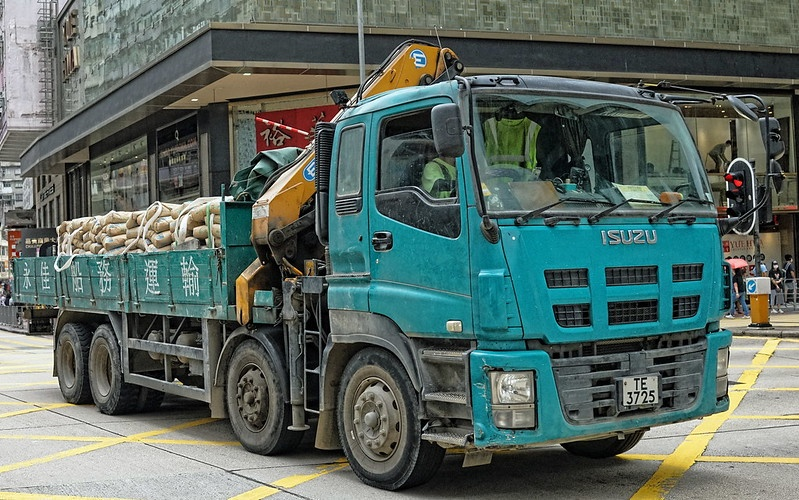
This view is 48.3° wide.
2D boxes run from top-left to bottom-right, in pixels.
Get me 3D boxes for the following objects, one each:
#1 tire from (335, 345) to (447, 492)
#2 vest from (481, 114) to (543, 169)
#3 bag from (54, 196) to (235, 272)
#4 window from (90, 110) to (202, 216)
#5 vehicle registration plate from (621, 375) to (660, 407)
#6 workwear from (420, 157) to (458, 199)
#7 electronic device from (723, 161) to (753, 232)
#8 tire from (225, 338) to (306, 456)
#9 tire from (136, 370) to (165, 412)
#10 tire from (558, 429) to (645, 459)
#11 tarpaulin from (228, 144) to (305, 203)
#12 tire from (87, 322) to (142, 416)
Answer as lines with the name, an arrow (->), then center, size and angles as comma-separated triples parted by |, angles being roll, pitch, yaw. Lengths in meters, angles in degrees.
tire -> -0.060, 2.117, 11.059 | 1.481, 1.606, 0.642 | 22, 11, 40
vest -> 1.310, -1.292, 10.666 | 0.713, 0.635, 0.105 | 1, -5, -17
bag -> -4.043, 0.142, 14.512 | 1.816, 0.786, 2.891 | 0, -7, -36
window -> -11.197, -3.320, 38.616 | 0.159, 3.605, 10.806 | -10, 5, -42
vehicle registration plate -> 2.896, 1.730, 10.642 | 0.080, 0.405, 0.575 | 16, -22, -37
workwear -> 0.458, -0.845, 10.855 | 0.475, 0.444, 0.467 | 2, -12, -3
electronic device -> 5.537, -0.845, 14.567 | 0.447, 1.178, 0.598 | 1, -7, -20
tire -> -1.811, 2.041, 12.352 | 0.599, 1.494, 1.372 | 2, 15, -45
tire -> -4.153, 2.350, 14.847 | 0.333, 0.798, 0.810 | 5, 3, -32
tire -> 2.764, 2.687, 12.069 | 0.802, 0.255, 0.799 | -4, -4, 12
tarpaulin -> -1.906, -1.108, 13.925 | 1.367, 0.474, 1.065 | -5, -3, -42
tire -> -4.760, 2.048, 15.062 | 0.524, 1.593, 1.609 | -1, 2, -32
